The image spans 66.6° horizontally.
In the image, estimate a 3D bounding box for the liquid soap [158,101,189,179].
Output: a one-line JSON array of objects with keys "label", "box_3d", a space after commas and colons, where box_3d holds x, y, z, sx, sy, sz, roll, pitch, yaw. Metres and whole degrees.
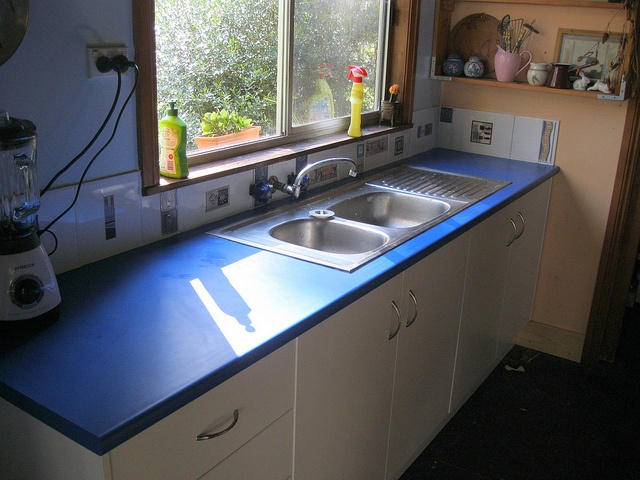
[{"label": "liquid soap", "box_3d": [-0.563, -0.381, 1.844, 0.114, 0.271, 0.145, -6, 23, -16]}]

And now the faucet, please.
[{"label": "faucet", "box_3d": [-0.046, -0.316, 2.265, 0.403, 0.169, 0.304, -6, 24, -17]}]

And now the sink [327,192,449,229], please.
[{"label": "sink", "box_3d": [0.414, -0.145, 2.498, 0.314, 0.098, 0.310, -26, 35, -38]}]

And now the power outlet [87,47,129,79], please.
[{"label": "power outlet", "box_3d": [-0.683, -0.574, 1.564, 0.030, 0.093, 0.145, 13, 26, 28]}]

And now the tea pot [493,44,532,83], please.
[{"label": "tea pot", "box_3d": [1.165, -1.068, 2.948, 0.140, 0.219, 0.217, -20, 29, -35]}]

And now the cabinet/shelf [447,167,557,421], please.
[{"label": "cabinet/shelf", "box_3d": [0.989, 0.289, 2.675, 0.494, 0.969, 0.953, 16, 38, 31]}]

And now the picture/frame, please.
[{"label": "picture/frame", "box_3d": [1.555, -1.027, 2.778, 0.343, 0.338, 0.039, 18, 26, 38]}]
